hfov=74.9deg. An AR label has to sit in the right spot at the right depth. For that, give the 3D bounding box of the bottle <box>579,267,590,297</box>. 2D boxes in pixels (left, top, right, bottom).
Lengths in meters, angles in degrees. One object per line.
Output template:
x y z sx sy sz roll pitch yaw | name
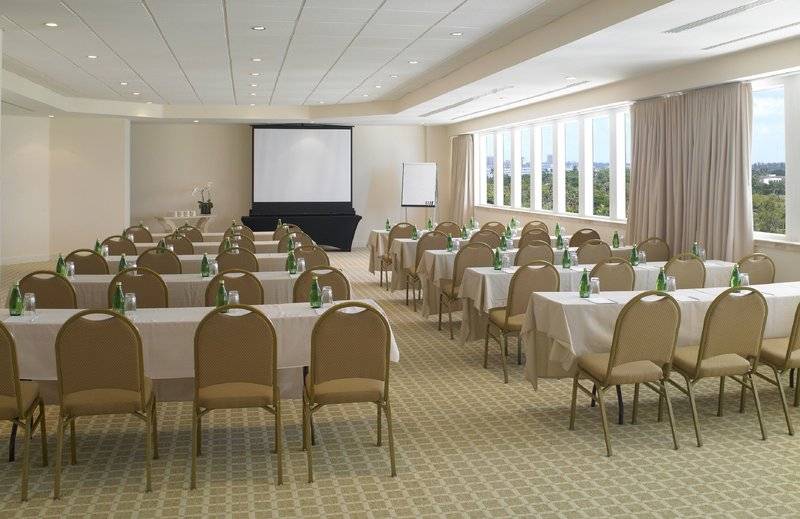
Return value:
1.868 0.257 5.312 0.099 0.225 0.276 4 12 20 | bottle

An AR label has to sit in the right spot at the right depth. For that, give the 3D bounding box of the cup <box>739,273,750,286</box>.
3.779 0.227 5.769 0.111 0.158 0.165 6 13 37 | cup

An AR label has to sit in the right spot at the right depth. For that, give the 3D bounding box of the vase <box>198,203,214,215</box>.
-5.714 -1.492 15.485 0.331 0.320 0.431 0 3 -17 | vase

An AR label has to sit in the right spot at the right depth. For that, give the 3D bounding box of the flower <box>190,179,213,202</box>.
-6.306 -2.198 16.981 0.737 0.762 0.719 13 14 38 | flower
